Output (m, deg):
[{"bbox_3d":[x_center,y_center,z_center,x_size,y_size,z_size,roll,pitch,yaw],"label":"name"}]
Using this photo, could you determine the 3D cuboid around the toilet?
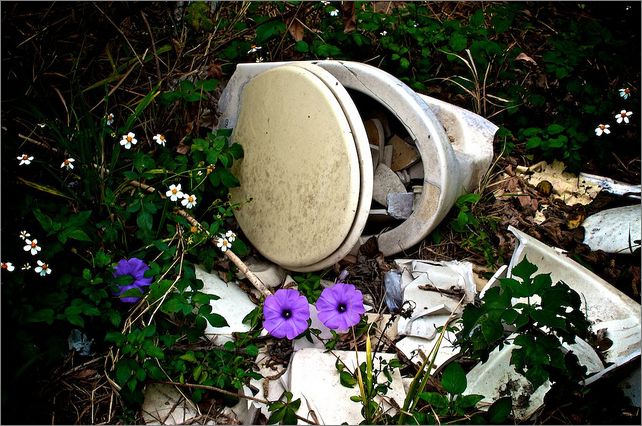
[{"bbox_3d":[0.168,-0.315,3.055,1.495,0.867,1.121,2,52,-14],"label":"toilet"}]
